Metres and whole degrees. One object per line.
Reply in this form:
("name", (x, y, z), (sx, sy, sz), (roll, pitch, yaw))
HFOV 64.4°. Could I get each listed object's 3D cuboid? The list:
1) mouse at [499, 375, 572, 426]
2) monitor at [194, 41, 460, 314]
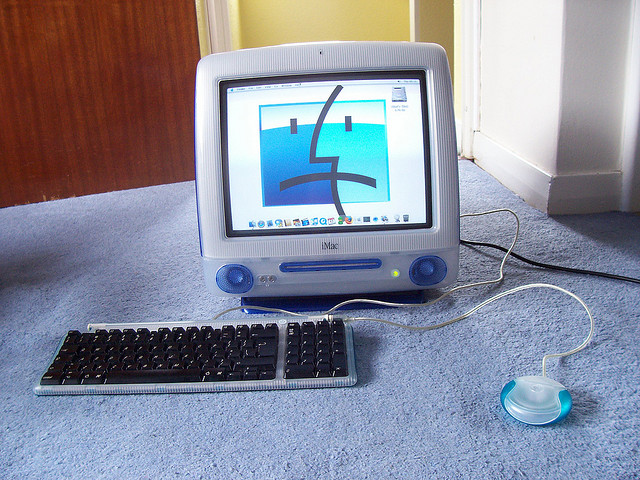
("mouse", (0.309, 0.230, 0.727), (0.092, 0.033, 0.068), (-9, 26, -11))
("monitor", (0.011, -0.123, 0.942), (0.479, 0.437, 0.160), (-3, 25, 1))
